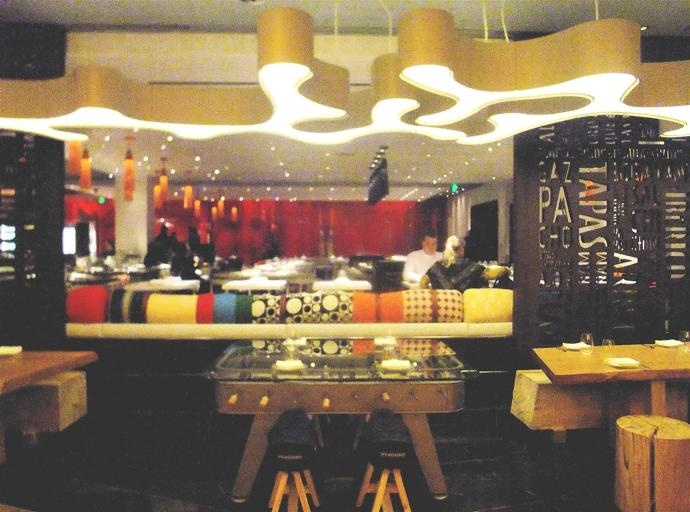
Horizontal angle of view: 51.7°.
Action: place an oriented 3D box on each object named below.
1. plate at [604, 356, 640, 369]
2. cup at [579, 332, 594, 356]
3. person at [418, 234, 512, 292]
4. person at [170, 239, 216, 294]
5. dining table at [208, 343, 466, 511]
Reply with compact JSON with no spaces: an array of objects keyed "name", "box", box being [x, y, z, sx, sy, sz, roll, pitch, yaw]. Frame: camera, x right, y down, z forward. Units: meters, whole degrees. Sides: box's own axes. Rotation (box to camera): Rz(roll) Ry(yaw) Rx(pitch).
[{"name":"plate","box":[2.304,0.885,5.923,0.264,0.070,0.225,1,-1,-7]},{"name":"cup","box":[2.173,0.767,6.311,0.150,0.231,0.156,-1,-3,0]},{"name":"person","box":[1.692,0.097,9.792,0.942,1.155,0.451,2,13,23]},{"name":"person","box":[-2.317,0.195,10.799,0.565,0.781,2.452,1,-1,-10]},{"name":"dining table","box":[0.006,1.328,5.999,2.072,0.976,1.288,-2,7,8]}]
